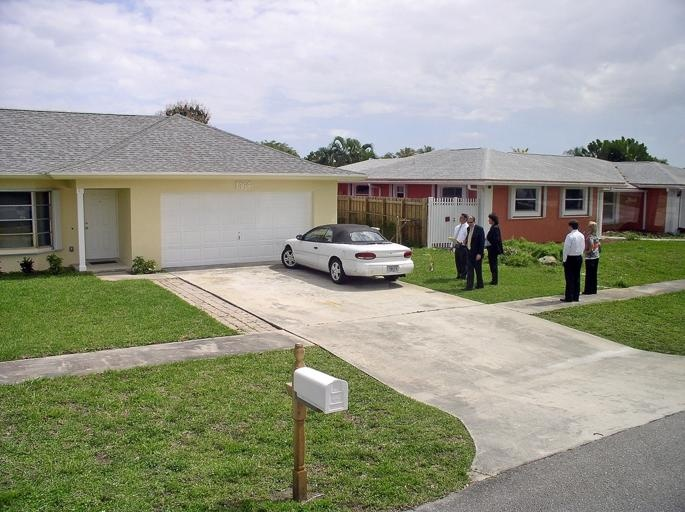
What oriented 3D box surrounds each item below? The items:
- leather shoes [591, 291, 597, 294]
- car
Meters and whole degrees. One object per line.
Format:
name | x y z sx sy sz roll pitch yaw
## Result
leather shoes | 7.336 1.068 14.291 0.110 0.077 0.061 3 10 13
car | 0.021 -0.144 15.838 1.473 1.719 4.182 -9 15 -44
